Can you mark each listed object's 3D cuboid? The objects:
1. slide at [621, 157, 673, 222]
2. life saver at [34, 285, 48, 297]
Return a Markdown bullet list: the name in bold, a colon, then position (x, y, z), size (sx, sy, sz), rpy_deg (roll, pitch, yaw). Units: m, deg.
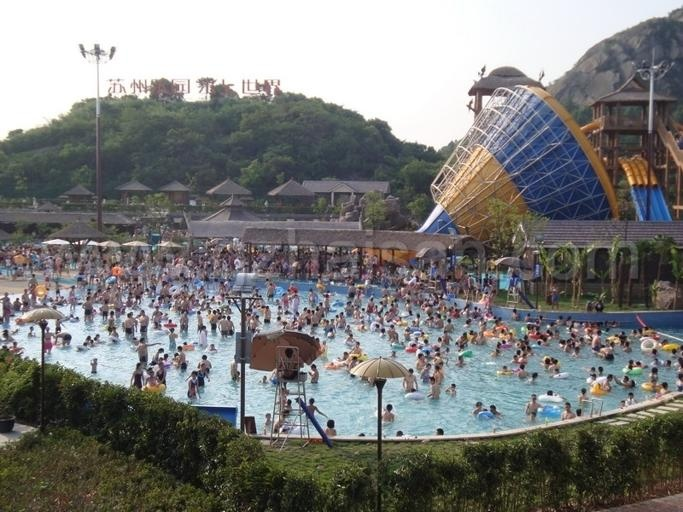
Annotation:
- **slide**: position (18.689, -4.288, 51.239), size (2.592, 5.743, 8.487), rpy_deg (-3, -8, 19)
- **life saver**: position (-14.264, 1.781, 39.412), size (0.507, 0.571, 0.554), rpy_deg (-1, 16, -30)
